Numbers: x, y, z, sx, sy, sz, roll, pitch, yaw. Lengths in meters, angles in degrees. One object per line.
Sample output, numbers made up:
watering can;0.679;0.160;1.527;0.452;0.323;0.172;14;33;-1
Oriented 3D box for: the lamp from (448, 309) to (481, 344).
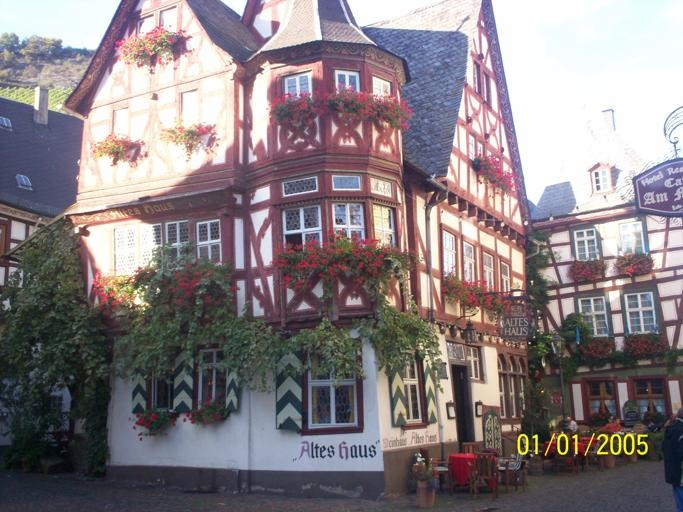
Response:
lamp;3.643;2.115;20.459;0.608;0.936;0.866;-19;-24;41
